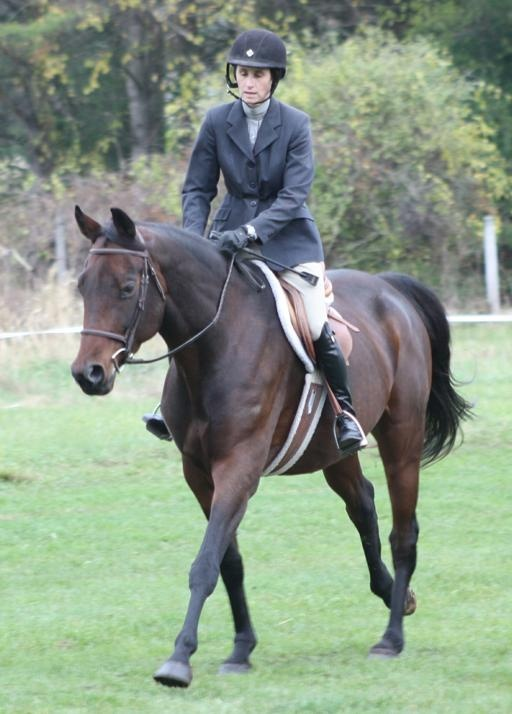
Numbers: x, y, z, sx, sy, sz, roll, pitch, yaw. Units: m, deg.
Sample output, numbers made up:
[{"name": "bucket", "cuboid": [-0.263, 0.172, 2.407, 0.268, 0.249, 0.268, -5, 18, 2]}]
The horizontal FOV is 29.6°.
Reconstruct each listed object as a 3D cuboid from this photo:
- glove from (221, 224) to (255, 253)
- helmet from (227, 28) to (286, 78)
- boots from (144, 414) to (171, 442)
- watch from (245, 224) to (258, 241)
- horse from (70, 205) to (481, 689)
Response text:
[{"name": "glove", "cuboid": [-0.070, -0.462, 3.797, 0.138, 0.052, 0.085, -13, 51, 14]}, {"name": "helmet", "cuboid": [0.002, -1.250, 3.940, 0.236, 0.192, 0.227, -1, 7, -1]}, {"name": "boots", "cuboid": [-0.459, 0.298, 4.297, 0.066, 0.082, 0.157, -37, 54, -22]}, {"name": "watch", "cuboid": [-0.016, -0.486, 3.786, 0.028, 0.055, 0.043, -23, 28, 5]}, {"name": "horse", "cuboid": [0.152, 0.316, 4.186, 0.903, 1.856, 2.383, 3, 8, 25]}]
